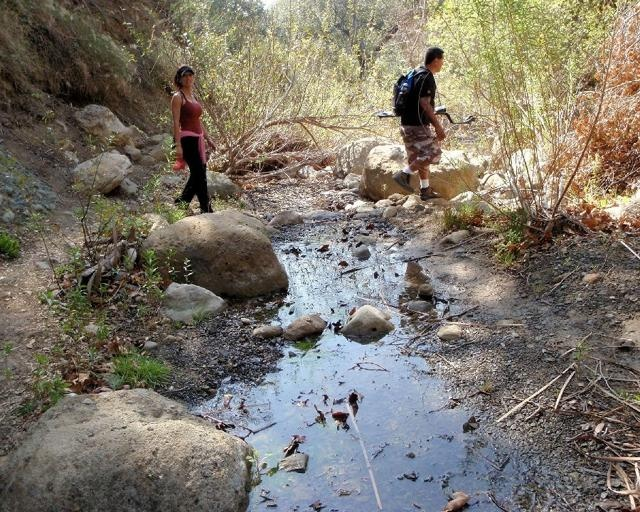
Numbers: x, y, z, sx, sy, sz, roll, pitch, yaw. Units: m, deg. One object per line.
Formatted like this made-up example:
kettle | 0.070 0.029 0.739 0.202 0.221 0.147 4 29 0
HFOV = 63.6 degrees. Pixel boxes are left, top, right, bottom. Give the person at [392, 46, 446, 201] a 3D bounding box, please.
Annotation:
person | 1.438 -1.901 7.627 0.713 2.188 0.952 -2 40 9
